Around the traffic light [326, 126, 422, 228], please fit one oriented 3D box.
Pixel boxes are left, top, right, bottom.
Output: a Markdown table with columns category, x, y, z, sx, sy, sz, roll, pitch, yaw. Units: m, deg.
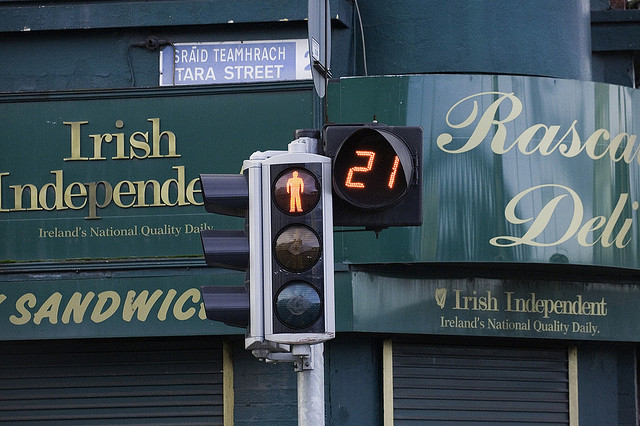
| category | x | y | z | sx | sy | sz | roll | pitch | yaw |
| --- | --- | --- | --- | --- | --- | --- | --- | --- | --- |
| traffic light | 0.711 | -0.528 | 26.693 | 1.468 | 1.477 | 1.180 | 0 | -4 | 14 |

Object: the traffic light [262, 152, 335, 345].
| category | x | y | z | sx | sy | sz | roll | pitch | yaw |
| --- | --- | --- | --- | --- | --- | --- | --- | --- | --- |
| traffic light | -0.294 | 0.470 | 26.442 | 0.928 | 2.467 | 0.814 | -2 | -21 | -4 |
